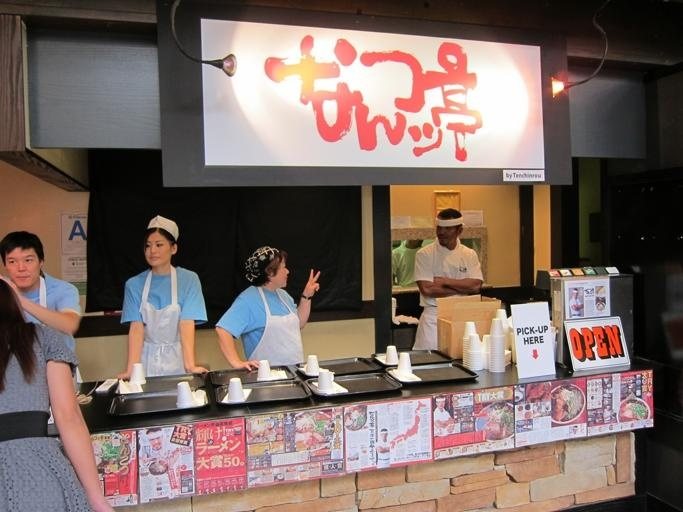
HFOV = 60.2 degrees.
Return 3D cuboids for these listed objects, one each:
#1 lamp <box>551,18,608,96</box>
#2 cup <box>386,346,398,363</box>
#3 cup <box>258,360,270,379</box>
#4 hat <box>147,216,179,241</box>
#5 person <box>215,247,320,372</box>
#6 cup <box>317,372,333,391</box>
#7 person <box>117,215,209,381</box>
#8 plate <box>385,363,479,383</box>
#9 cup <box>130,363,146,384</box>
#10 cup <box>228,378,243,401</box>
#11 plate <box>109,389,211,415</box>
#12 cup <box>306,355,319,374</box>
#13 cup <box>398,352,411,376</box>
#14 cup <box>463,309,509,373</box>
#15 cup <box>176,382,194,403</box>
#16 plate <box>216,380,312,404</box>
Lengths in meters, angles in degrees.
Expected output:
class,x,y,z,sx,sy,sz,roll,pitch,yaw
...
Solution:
class,x,y,z,sx,sy,sz,roll,pitch,yaw
lamp,1.438,-1.212,3.569,0.328,0.471,0.572,-3,1,26
cup,0.284,0.571,3.403,0.082,0.096,0.085,-1,1,0
cup,-0.400,0.605,3.157,0.073,0.085,0.079,0,-7,0
hat,-1.188,-0.195,3.957,0.175,0.138,0.227,9,-8,-18
person,-0.512,0.323,3.622,0.363,0.765,0.623,-3,1,22
cup,-0.084,0.629,2.985,0.074,0.107,0.128,-3,1,-2
person,-1.146,0.265,3.795,0.523,1.075,0.449,-3,0,-22
plate,0.491,0.646,3.208,0.474,0.092,0.261,-4,1,-12
cup,-1.086,0.634,3.172,0.082,0.094,0.093,2,7,30
cup,-0.522,0.656,2.901,0.074,0.120,0.105,-3,1,-10
plate,-0.914,0.728,2.883,0.295,0.034,0.180,-2,3,-15
cup,-0.158,0.603,3.266,0.083,0.095,0.083,-1,0,0
cup,0.341,0.587,3.197,0.082,0.098,0.084,-3,5,0
cup,0.829,0.499,3.371,0.230,0.317,0.286,0,2,-25
cup,-0.761,0.661,2.878,0.083,0.096,0.087,-10,5,1
plate,-0.397,0.693,2.981,0.468,0.064,0.249,-4,1,-12
